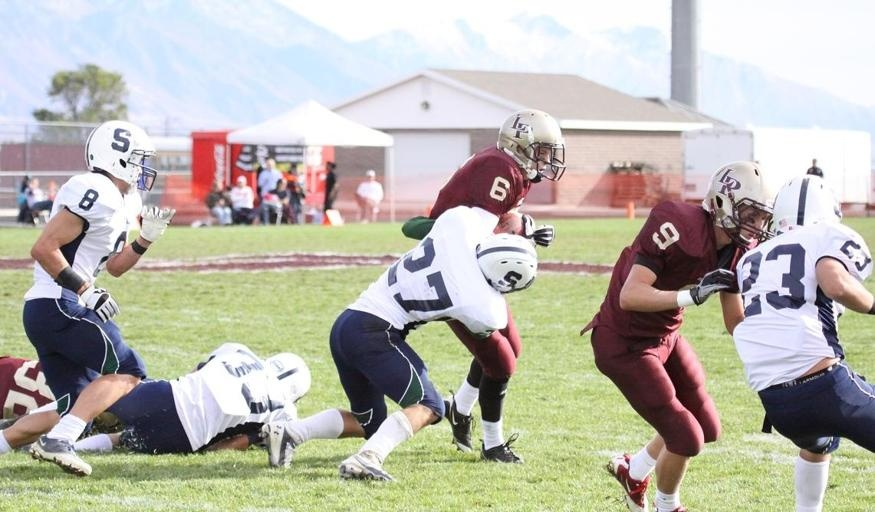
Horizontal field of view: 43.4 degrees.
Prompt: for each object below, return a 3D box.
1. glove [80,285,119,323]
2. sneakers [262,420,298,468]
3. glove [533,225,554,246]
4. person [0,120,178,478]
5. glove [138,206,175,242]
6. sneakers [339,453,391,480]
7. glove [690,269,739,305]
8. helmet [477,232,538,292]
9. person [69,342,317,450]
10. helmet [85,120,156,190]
[{"bbox_3d":[-2.547,0.373,8.246,0.113,0.284,0.237,-30,10,43],"label":"glove"},{"bbox_3d":[-1.201,1.406,8.348,0.202,0.430,0.155,-16,11,-9],"label":"sneakers"},{"bbox_3d":[0.873,-0.162,9.045,0.178,0.170,0.144,0,1,40],"label":"glove"},{"bbox_3d":[-2.651,0.261,8.324,1.120,2.639,0.855,2,3,-37],"label":"person"},{"bbox_3d":[-2.223,-0.267,8.819,0.261,0.321,0.091,36,18,7],"label":"glove"},{"bbox_3d":[-0.556,1.557,8.086,0.418,0.201,0.160,4,28,-12],"label":"sneakers"},{"bbox_3d":[1.888,0.209,7.603,0.327,0.199,0.135,-34,-4,-7],"label":"glove"},{"bbox_3d":[0.502,0.062,7.987,0.473,0.345,0.413,2,-6,-36],"label":"helmet"},{"bbox_3d":[-1.837,1.229,8.524,1.749,0.611,0.732,-18,58,-41],"label":"person"},{"bbox_3d":[-2.485,-0.822,8.749,0.598,0.542,0.480,-2,6,-18],"label":"helmet"}]
